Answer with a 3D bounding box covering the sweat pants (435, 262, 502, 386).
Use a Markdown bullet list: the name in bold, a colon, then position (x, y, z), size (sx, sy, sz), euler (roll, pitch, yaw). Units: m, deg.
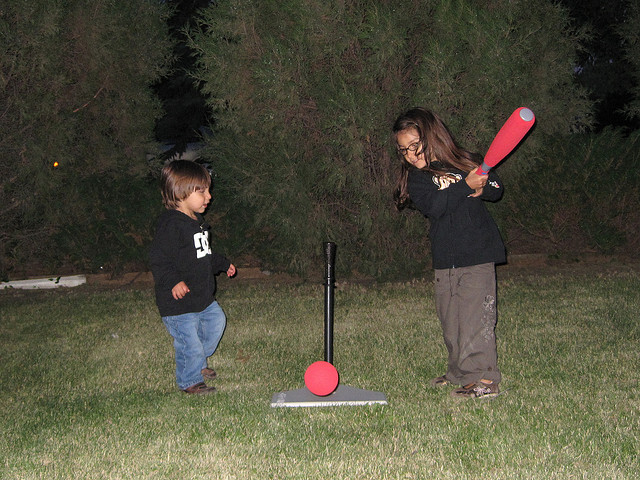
- **sweat pants**: position (1.191, 0.689, 4.915), size (0.504, 1.009, 0.290), euler (1, 10, 12)
